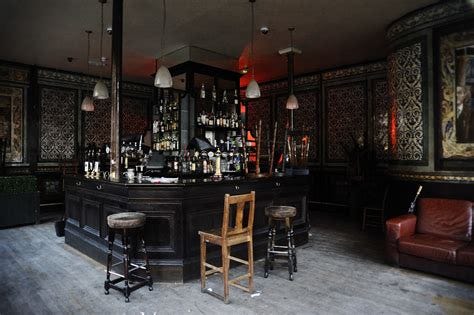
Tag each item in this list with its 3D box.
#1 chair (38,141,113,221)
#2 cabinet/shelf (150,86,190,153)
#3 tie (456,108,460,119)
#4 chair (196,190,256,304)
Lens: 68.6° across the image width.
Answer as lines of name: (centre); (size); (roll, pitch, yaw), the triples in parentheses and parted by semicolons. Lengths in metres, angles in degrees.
chair: (-4.395, 0.642, 9.142); (1.662, 2.137, 2.287); (-1, -4, 24)
cabinet/shelf: (-1.920, -1.020, 9.932); (0.701, 1.864, 1.723); (-10, 16, -34)
tie: (4.700, -0.952, 7.349); (0.045, 0.183, 0.131); (4, -2, -16)
chair: (-0.125, 1.405, 6.169); (0.995, 1.777, 1.295); (5, 14, 20)
